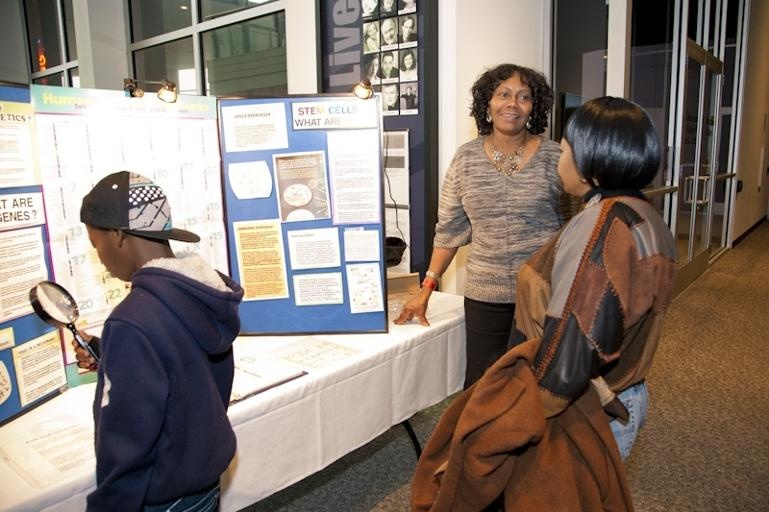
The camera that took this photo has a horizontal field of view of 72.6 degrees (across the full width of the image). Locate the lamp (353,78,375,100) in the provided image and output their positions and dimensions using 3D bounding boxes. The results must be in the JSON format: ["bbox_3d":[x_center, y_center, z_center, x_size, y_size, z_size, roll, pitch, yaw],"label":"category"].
[{"bbox_3d":[-0.100,-0.769,2.452,0.093,0.091,0.140,-2,16,2],"label":"lamp"}]

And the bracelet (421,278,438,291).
[{"bbox_3d":[0.223,0.155,2.658,0.065,0.047,0.066,-1,-16,6],"label":"bracelet"}]

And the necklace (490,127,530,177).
[{"bbox_3d":[0.594,-0.483,2.480,0.175,0.245,0.086,1,1,23],"label":"necklace"}]

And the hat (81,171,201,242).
[{"bbox_3d":[-0.766,-0.145,1.647,0.284,0.145,0.175,12,7,-8],"label":"hat"}]

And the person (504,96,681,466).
[{"bbox_3d":[0.676,0.107,1.609,0.369,1.135,0.436,7,18,29],"label":"person"}]
